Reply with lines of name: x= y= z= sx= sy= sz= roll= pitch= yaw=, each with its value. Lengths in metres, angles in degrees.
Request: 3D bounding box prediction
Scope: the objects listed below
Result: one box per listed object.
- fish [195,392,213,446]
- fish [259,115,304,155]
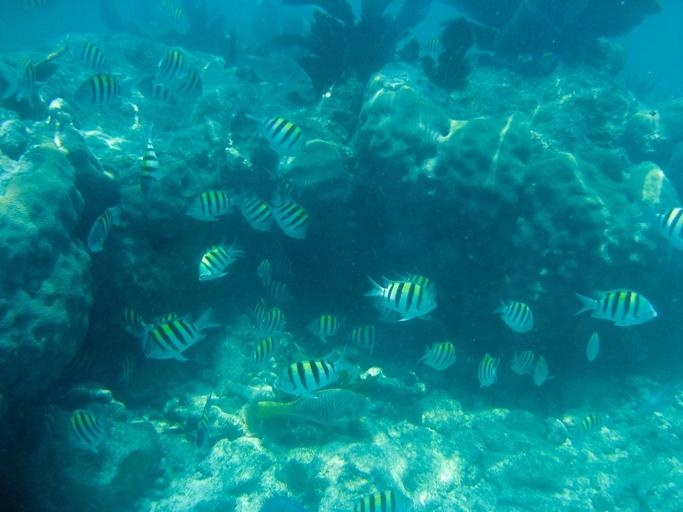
fish: x=-2.472 y=2.982 z=13.542 sx=0.186 sy=0.276 sz=0.979 roll=6 pitch=60 yaw=3
fish: x=-1.086 y=-2.139 z=13.247 sx=0.483 sy=0.299 sz=0.859 roll=-15 pitch=64 yaw=-36
